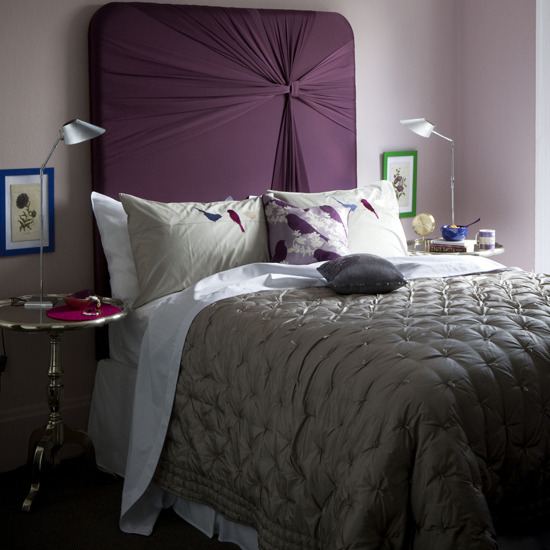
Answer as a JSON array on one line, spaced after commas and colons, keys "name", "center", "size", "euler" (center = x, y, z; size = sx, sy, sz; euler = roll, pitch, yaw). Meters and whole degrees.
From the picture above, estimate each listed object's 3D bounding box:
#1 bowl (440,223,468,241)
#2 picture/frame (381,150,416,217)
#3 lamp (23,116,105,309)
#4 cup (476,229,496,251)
[{"name": "bowl", "center": [1.160, -0.276, 3.356], "size": [0.150, 0.088, 0.124], "euler": [-1, 14, 11]}, {"name": "picture/frame", "center": [0.843, -0.660, 3.571], "size": [0.418, 0.696, 0.025], "euler": [-12, 16, -43]}, {"name": "lamp", "center": [-0.941, -0.298, 2.295], "size": [0.391, 0.801, 0.521], "euler": [-8, 13, -22]}, {"name": "cup", "center": [1.379, -0.226, 3.395], "size": [0.131, 0.170, 0.129], "euler": [0, 2, 0]}]
